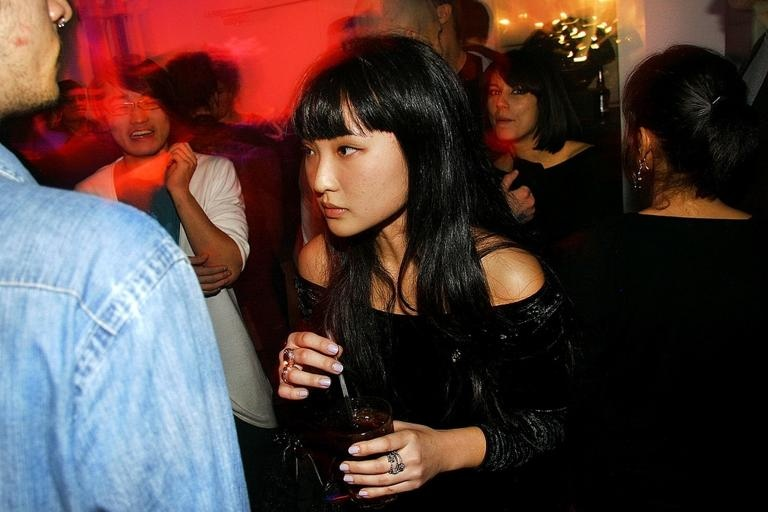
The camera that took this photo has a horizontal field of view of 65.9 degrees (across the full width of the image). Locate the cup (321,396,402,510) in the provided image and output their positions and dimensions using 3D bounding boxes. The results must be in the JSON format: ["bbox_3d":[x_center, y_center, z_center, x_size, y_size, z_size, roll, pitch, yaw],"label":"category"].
[{"bbox_3d":[-0.018,0.590,1.888,0.240,0.314,0.317,0,12,5],"label":"cup"}]
